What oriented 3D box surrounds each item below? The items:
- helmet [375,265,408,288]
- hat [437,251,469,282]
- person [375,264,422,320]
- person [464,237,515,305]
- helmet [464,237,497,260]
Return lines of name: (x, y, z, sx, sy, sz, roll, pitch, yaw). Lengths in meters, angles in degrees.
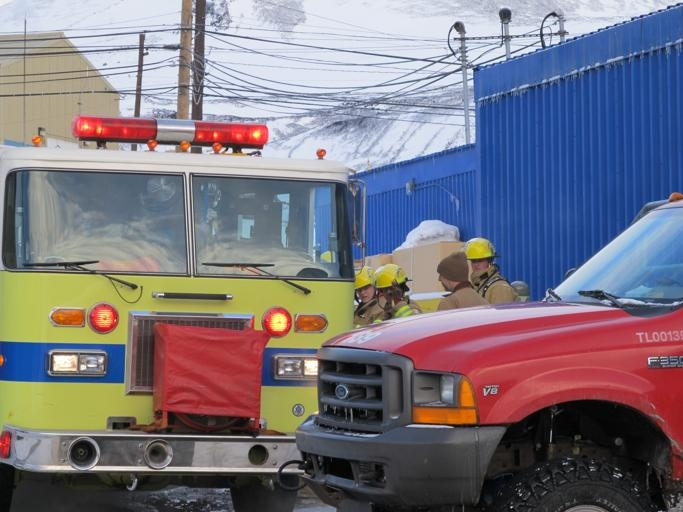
helmet: (0.546, 0.251, 15.990, 0.342, 0.264, 0.265, -18, 5, 16)
hat: (1.240, 0.107, 15.061, 0.376, 0.279, 0.268, 9, 11, 5)
person: (0.636, 0.471, 16.116, 0.498, 0.750, 0.765, -5, -9, -13)
person: (1.750, 0.210, 16.269, 0.536, 0.882, 0.953, -9, 9, -15)
helmet: (1.684, -0.078, 16.294, 0.256, 0.256, 0.325, -1, -15, 43)
